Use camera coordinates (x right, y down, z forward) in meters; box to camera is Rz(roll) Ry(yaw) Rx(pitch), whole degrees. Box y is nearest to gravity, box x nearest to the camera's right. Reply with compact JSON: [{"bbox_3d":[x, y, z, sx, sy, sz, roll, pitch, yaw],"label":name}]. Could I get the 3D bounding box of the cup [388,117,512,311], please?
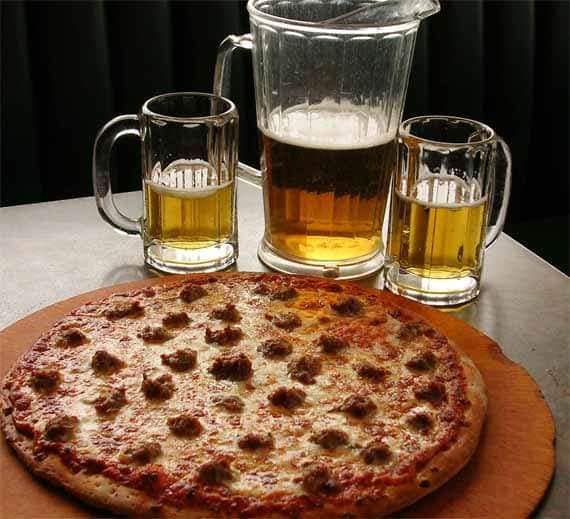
[{"bbox_3d":[0.201,-0.099,0.767,0.152,0.263,0.247,17,32,24],"label":"cup"}]
